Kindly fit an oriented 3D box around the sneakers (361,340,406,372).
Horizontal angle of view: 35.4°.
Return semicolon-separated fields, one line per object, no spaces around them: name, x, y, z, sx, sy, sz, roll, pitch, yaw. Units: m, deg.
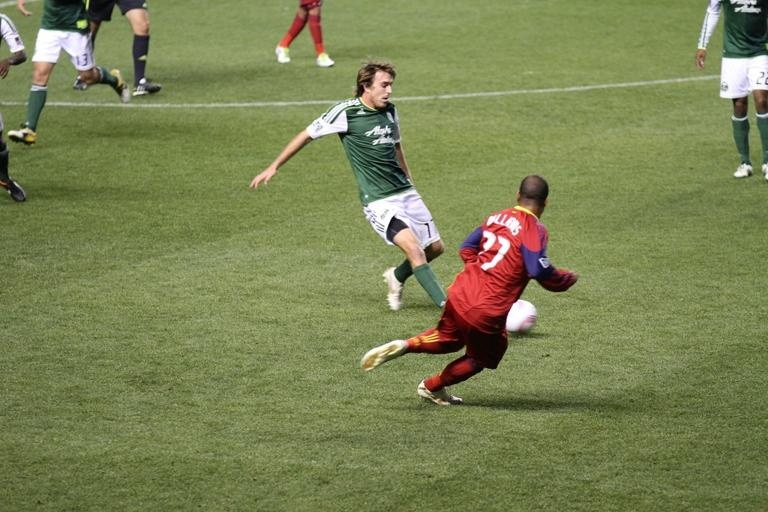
sneakers;-0.010;0.746;9.174;0.357;0.113;0.186;-18;16;-13

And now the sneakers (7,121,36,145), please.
sneakers;-3.838;-1.321;12.824;0.377;0.233;0.168;11;-12;-11

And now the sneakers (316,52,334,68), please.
sneakers;-0.850;-2.856;17.356;0.140;0.133;0.331;-22;21;-20

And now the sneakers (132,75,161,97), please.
sneakers;-3.207;-2.226;15.789;0.498;0.237;0.170;-6;13;-2

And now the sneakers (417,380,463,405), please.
sneakers;0.416;1.062;9.377;0.407;0.151;0.146;6;23;-8

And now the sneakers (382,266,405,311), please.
sneakers;0.118;0.281;10.655;0.200;0.367;0.154;1;15;36

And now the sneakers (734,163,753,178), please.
sneakers;3.871;-0.931;13.003;0.254;0.094;0.116;-5;10;-44

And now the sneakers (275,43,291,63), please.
sneakers;-1.496;-3.038;17.768;0.150;0.157;0.359;-12;33;-24
